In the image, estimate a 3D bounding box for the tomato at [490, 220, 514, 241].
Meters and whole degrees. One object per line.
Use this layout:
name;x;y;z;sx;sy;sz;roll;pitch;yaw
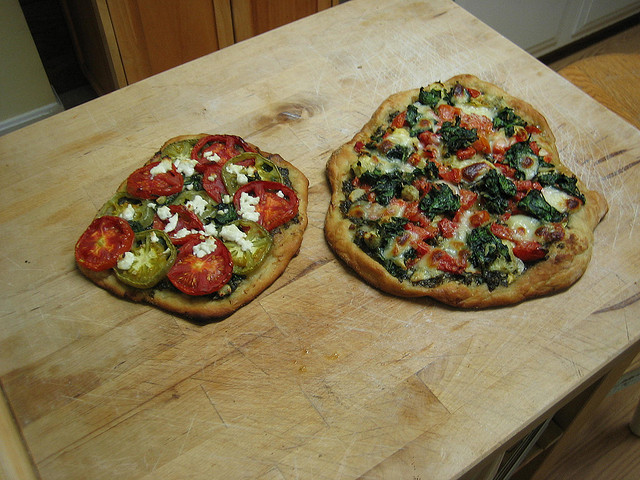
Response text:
tomato;1.101;-0.056;3.414;0.075;0.035;0.141;-35;63;-24

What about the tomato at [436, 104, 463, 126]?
tomato;0.878;-0.845;3.902;0.168;0.044;0.159;18;57;-9

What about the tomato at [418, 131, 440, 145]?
tomato;0.741;-0.676;3.735;0.096;0.036;0.097;-26;54;-33

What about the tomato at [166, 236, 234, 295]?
tomato;-0.682;0.150;3.282;0.335;0.127;0.342;20;55;13

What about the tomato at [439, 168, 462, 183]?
tomato;0.849;-0.416;3.611;0.119;0.040;0.087;7;59;10

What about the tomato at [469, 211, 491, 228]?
tomato;0.977;-0.132;3.450;0.106;0.045;0.103;-5;46;31

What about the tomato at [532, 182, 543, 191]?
tomato;1.374;-0.341;3.547;0.049;0.017;0.047;-18;50;-18

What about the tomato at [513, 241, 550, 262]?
tomato;1.268;0.065;3.376;0.206;0.074;0.096;13;54;8

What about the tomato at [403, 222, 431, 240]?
tomato;0.599;-0.061;3.416;0.110;0.031;0.102;-14;45;-38

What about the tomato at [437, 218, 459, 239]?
tomato;0.778;-0.073;3.435;0.111;0.031;0.112;43;58;14

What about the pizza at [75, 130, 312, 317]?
pizza;-0.803;-0.059;3.577;1.342;0.263;1.470;19;42;26

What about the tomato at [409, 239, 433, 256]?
tomato;0.616;0.039;3.366;0.071;0.031;0.120;-29;61;-17

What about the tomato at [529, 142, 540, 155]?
tomato;1.426;-0.611;3.773;0.070;0.030;0.098;-19;67;-24

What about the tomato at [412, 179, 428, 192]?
tomato;0.636;-0.347;3.569;0.085;0.030;0.081;-10;50;-14
